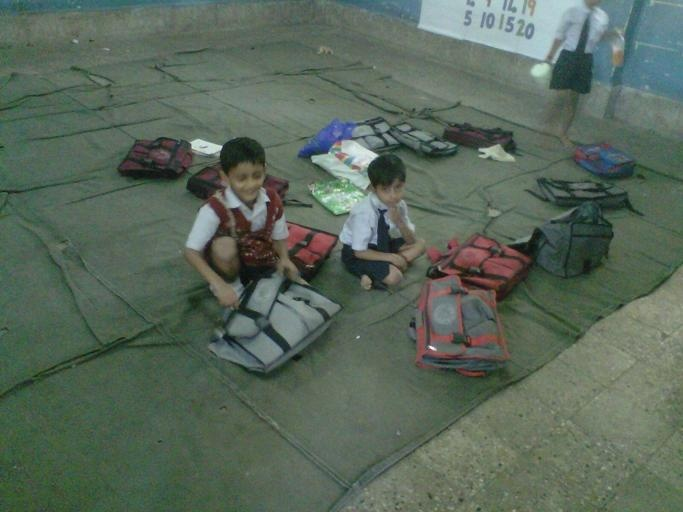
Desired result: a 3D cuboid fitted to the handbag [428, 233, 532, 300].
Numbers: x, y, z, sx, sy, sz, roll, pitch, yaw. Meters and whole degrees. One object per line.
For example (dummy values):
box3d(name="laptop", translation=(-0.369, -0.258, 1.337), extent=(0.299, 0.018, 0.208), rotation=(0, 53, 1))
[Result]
box3d(name="handbag", translation=(1.046, 0.034, 4.622), extent=(0.560, 0.199, 0.568), rotation=(29, 44, 30))

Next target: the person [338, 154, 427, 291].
box3d(name="person", translation=(0.322, -0.227, 4.797), extent=(0.615, 0.873, 0.773), rotation=(31, 53, 27))

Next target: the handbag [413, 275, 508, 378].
box3d(name="handbag", translation=(0.833, 0.485, 4.187), extent=(0.621, 0.497, 0.557), rotation=(5, 29, 1))

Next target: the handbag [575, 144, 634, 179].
box3d(name="handbag", translation=(2.767, -0.999, 6.265), extent=(0.405, 0.236, 0.534), rotation=(-11, 32, -25))

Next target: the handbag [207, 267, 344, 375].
box3d(name="handbag", translation=(-0.438, 0.431, 4.236), extent=(0.962, 0.285, 0.972), rotation=(11, 44, 10))

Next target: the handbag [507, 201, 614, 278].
box3d(name="handbag", translation=(1.920, -0.268, 5.067), extent=(0.751, 0.573, 0.952), rotation=(-1, 19, 11))

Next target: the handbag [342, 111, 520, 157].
box3d(name="handbag", translation=(0.972, -1.291, 6.522), extent=(1.873, 0.264, 0.645), rotation=(-2, 29, -12))

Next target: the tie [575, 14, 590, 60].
box3d(name="tie", translation=(2.661, -2.396, 6.537), extent=(0.090, 0.422, 0.108), rotation=(-17, 36, -32))

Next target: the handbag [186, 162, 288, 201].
box3d(name="handbag", translation=(-1.069, -0.679, 5.503), extent=(0.527, 0.126, 0.523), rotation=(-24, 42, -36))

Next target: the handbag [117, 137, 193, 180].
box3d(name="handbag", translation=(-1.760, -0.944, 5.726), extent=(0.626, 0.261, 0.495), rotation=(3, 29, -2))
